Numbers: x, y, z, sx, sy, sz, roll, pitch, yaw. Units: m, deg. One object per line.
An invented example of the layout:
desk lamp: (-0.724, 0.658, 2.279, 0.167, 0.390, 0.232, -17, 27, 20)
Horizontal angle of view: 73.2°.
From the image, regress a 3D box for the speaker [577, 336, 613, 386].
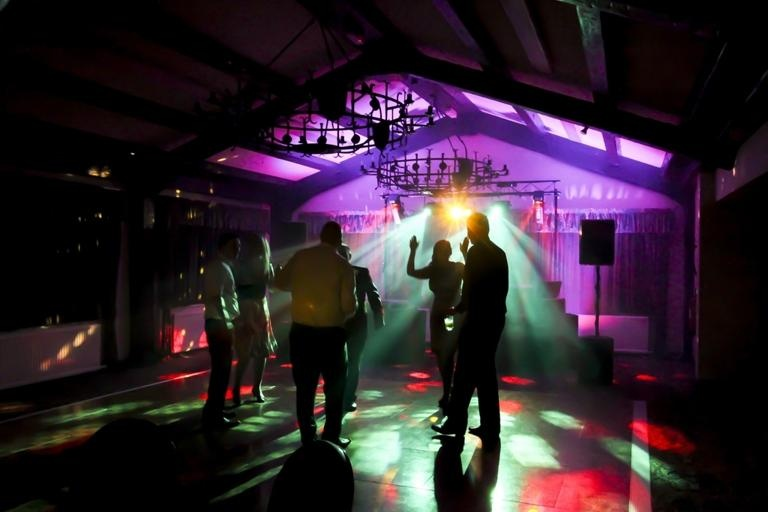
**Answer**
speaker: (3.403, 1.619, 8.147, 0.612, 0.741, 0.638, 1, -2, 28)

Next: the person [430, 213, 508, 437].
person: (1.062, 0.792, 5.732, 0.642, 2.540, 0.430, -1, 6, -5)
